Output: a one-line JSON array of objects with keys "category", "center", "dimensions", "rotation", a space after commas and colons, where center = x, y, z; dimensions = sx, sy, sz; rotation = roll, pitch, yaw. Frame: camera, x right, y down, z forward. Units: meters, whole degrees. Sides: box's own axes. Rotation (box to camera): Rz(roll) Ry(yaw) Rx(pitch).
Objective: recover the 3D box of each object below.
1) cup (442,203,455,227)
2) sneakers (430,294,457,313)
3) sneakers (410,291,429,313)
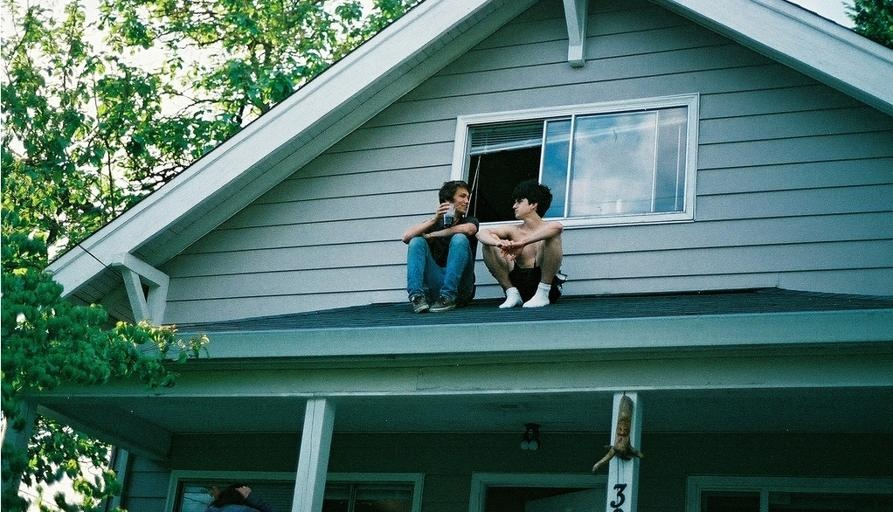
[{"category": "cup", "center": [-0.001, -0.445, 11.252], "dimensions": [0.184, 0.232, 0.140], "rotation": [12, -41, 0]}, {"category": "sneakers", "center": [-0.061, 0.546, 11.034], "dimensions": [0.349, 0.128, 0.127], "rotation": [0, -11, -6]}, {"category": "sneakers", "center": [-0.295, 0.514, 11.032], "dimensions": [0.215, 0.217, 0.164], "rotation": [-8, 12, -22]}]
